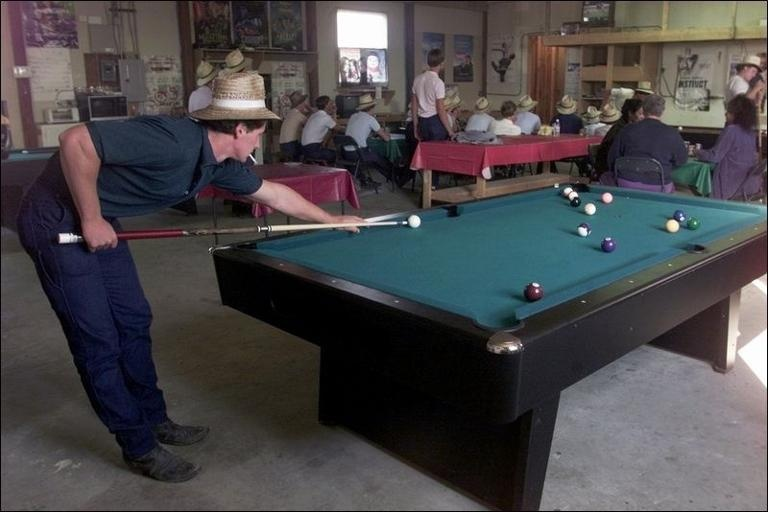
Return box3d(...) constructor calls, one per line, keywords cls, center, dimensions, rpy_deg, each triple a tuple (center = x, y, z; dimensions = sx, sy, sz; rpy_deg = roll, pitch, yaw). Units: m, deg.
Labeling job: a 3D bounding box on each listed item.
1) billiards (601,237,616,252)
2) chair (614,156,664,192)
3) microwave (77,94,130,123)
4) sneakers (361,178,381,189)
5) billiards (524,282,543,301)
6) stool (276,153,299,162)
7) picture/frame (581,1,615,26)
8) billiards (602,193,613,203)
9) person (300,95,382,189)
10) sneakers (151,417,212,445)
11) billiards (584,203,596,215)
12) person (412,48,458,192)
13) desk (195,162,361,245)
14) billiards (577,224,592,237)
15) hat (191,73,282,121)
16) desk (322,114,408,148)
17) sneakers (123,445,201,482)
box3d(cls="billiards", center=(1.166, -0.057, 2.924), dimensions=(0.079, 0.074, 0.075), rpy_deg=(0, 22, 11))
box3d(cls="chair", center=(2.272, -0.725, 4.919), dimensions=(0.297, 0.463, 0.326), rpy_deg=(8, 50, 26))
box3d(cls="microwave", center=(-4.180, -2.213, 8.311), dimensions=(0.580, 0.501, 0.843), rpy_deg=(14, 20, 37))
box3d(cls="sneakers", center=(-0.149, -1.076, 8.361), dimensions=(0.380, 0.154, 0.127), rpy_deg=(11, 34, 37))
box3d(cls="billiards", center=(0.630, 0.149, 2.364), dimensions=(0.080, 0.077, 0.077), rpy_deg=(-1, 6, 10))
box3d(cls="stool", center=(-1.530, -1.572, 8.862), dimensions=(0.362, 0.134, 0.366), rpy_deg=(-6, 8, -44))
box3d(cls="picture/frame", center=(3.933, -4.435, 10.241), dimensions=(0.485, 0.433, 0.259), rpy_deg=(10, 25, 24))
box3d(cls="billiards", center=(1.548, -0.399, 3.866), dimensions=(0.058, 0.054, 0.066), rpy_deg=(15, -14, -11))
box3d(cls="person", center=(-0.891, -1.685, 8.183), dimensions=(0.609, 1.303, 0.813), rpy_deg=(12, 22, 24))
box3d(cls="sneakers", center=(-1.057, 0.914, 2.927), dimensions=(0.313, 0.124, 0.104), rpy_deg=(-1, 14, -5))
box3d(cls="billiards", center=(1.320, -0.304, 3.587), dimensions=(0.088, 0.082, 0.047), rpy_deg=(4, -24, 20))
box3d(cls="person", center=(0.715, -1.809, 7.815), dimensions=(0.452, 1.972, 0.689), rpy_deg=(-19, 30, -36))
box3d(cls="desk", center=(-0.889, -0.609, 5.337), dimensions=(1.234, 0.637, 1.217), rpy_deg=(-14, 20, -43))
box3d(cls="billiards", center=(1.131, -0.144, 3.149), dimensions=(0.054, 0.060, 0.055), rpy_deg=(-31, 17, 1))
box3d(cls="hat", center=(-0.673, -0.721, 2.574), dimensions=(0.302, 0.137, 0.283), rpy_deg=(1, 25, 4))
box3d(cls="desk", center=(-0.270, -1.674, 8.027), dimensions=(1.045, 0.506, 0.736), rpy_deg=(-8, 30, -33))
box3d(cls="sneakers", center=(-1.035, 0.992, 2.727), dimensions=(0.425, 0.167, 0.144), rpy_deg=(4, 18, -1))
